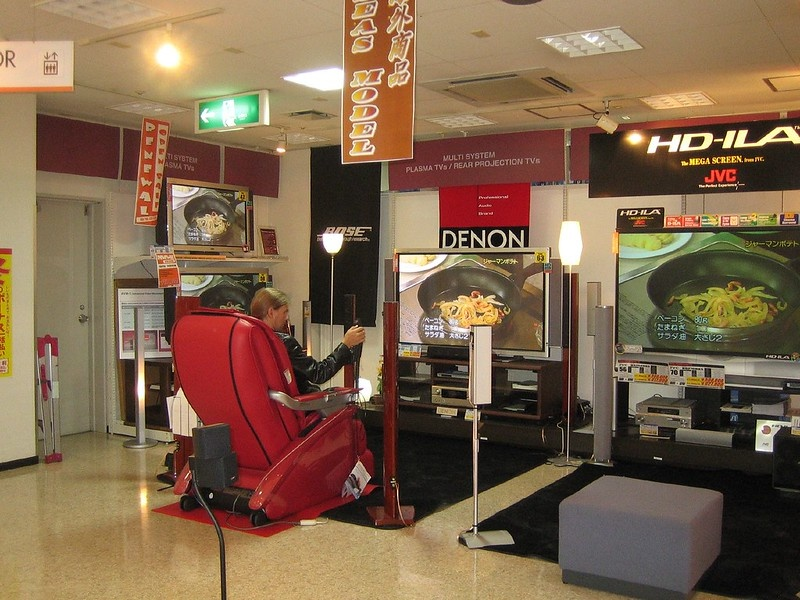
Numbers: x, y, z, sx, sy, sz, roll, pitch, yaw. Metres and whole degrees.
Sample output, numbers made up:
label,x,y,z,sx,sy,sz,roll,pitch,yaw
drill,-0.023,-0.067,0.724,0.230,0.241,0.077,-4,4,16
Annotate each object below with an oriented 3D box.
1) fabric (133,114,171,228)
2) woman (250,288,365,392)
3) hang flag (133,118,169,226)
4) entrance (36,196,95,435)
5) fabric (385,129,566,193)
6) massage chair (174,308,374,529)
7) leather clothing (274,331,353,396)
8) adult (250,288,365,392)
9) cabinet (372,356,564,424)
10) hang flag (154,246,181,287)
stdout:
label,x,y,z,sx,sy,sz,roll,pitch,yaw
fabric,-2.756,-1.462,7.265,0.366,1.161,0.032,6,0,20
woman,-0.853,0.321,5.343,0.935,1.019,0.783,-10,5,-26
hang flag,-2.750,-1.451,7.312,0.379,1.187,0.031,2,0,-43
entrance,-3.915,0.217,7.669,0.614,2.758,0.257,-2,3,-29
fabric,0.888,-1.737,7.942,2.551,0.574,0.284,-9,4,-24
massage chair,-1.031,0.873,5.384,1.252,1.447,1.664,0,-4,33
leather clothing,-0.664,0.472,5.348,0.564,0.604,0.449,-17,1,-18
adult,-0.791,0.418,5.457,0.948,0.962,0.771,-8,6,-22
cabinet,0.751,0.975,7.394,1.668,0.522,0.508,3,4,16
hang flag,-2.453,-0.343,6.851,0.236,0.428,0.408,-2,2,-20
